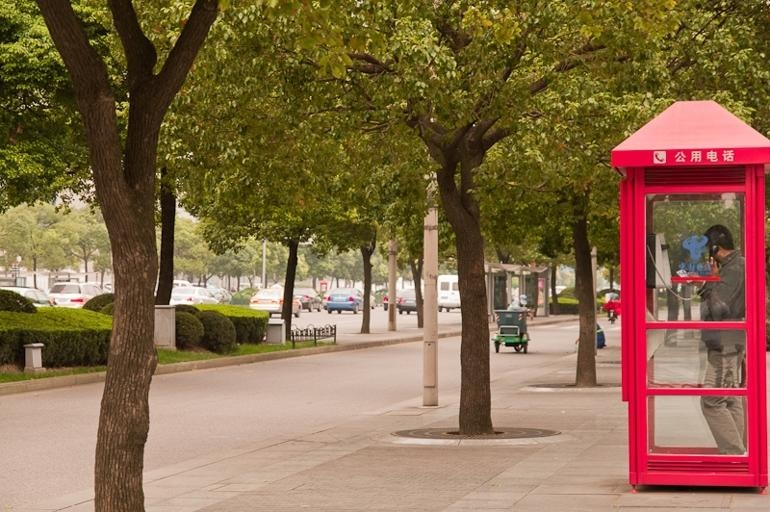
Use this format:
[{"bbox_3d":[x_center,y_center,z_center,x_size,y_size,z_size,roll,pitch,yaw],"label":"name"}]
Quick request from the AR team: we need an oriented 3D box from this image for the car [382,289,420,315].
[{"bbox_3d":[1.021,2.756,63.260,1.647,1.048,3.480,0,3,6],"label":"car"}]

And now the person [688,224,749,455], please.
[{"bbox_3d":[4.038,0.996,12.832,0.553,2.728,0.144,-2,-5,15],"label":"person"}]

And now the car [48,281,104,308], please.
[{"bbox_3d":[-14.322,1.770,49.333,1.335,0.957,2.917,0,1,9],"label":"car"}]

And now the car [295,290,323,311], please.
[{"bbox_3d":[-4.939,2.848,67.855,1.419,1.092,3.429,0,0,12],"label":"car"}]

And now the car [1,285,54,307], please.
[{"bbox_3d":[-12.847,1.454,38.570,0.829,0.587,1.691,3,1,24],"label":"car"}]

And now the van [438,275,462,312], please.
[{"bbox_3d":[4.503,2.583,75.353,1.722,1.577,2.769,0,2,5],"label":"van"}]

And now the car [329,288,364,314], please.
[{"bbox_3d":[-2.600,2.916,68.708,1.907,1.863,4.528,-1,-6,3],"label":"car"}]

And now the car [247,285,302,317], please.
[{"bbox_3d":[-6.199,2.703,59.849,1.996,1.449,4.291,0,1,12],"label":"car"}]

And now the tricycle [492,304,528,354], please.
[{"bbox_3d":[4.245,2.538,35.622,1.353,1.285,2.046,0,-6,8],"label":"tricycle"}]
